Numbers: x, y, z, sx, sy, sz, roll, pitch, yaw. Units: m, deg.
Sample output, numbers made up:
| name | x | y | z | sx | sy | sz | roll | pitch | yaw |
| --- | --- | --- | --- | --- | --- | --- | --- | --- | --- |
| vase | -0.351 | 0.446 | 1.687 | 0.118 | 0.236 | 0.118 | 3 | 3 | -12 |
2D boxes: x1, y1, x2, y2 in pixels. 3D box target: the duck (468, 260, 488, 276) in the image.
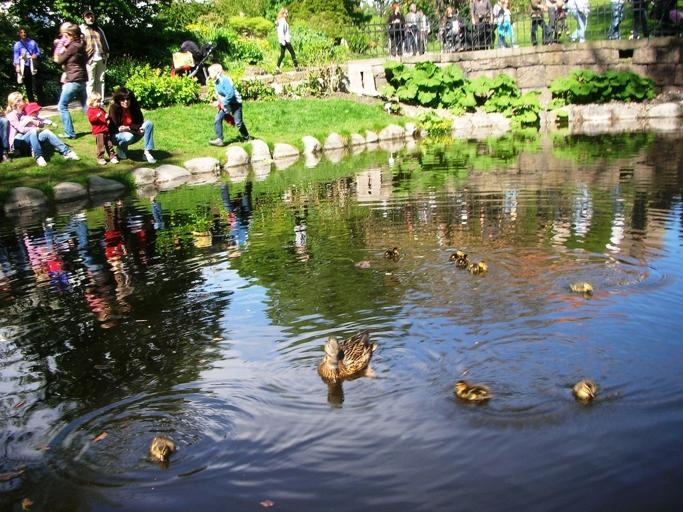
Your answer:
| name | x | y | z | sx | sy | sz | roll | pitch | yaw |
| --- | --- | --- | --- | --- | --- | --- | --- | --- | --- |
| duck | 2.052 | 0.182 | 10.263 | 0.251 | 0.163 | 0.165 | 0 | 7 | 1 |

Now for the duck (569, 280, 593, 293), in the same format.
| name | x | y | z | sx | sy | sz | roll | pitch | yaw |
| --- | --- | --- | --- | --- | --- | --- | --- | --- | --- |
| duck | 3.335 | 0.418 | 9.518 | 0.309 | 0.140 | 0.438 | -2 | 13 | 19 |

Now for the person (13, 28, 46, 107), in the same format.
| name | x | y | z | sx | sy | sz | roll | pitch | yaw |
| --- | --- | --- | --- | --- | --- | --- | --- | --- | --- |
| person | -10.876 | -6.503 | 23.674 | 0.710 | 2.566 | 1.039 | 31 | 40 | 33 |

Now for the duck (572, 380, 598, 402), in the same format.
| name | x | y | z | sx | sy | sz | roll | pitch | yaw |
| --- | --- | --- | --- | --- | --- | --- | --- | --- | --- |
| duck | 2.614 | 1.453 | 7.370 | 0.201 | 0.231 | 0.132 | -2 | 30 | -18 |

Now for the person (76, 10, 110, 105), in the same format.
| name | x | y | z | sx | sy | sz | roll | pitch | yaw |
| --- | --- | --- | --- | --- | --- | --- | --- | --- | --- |
| person | -7.880 | -6.324 | 21.302 | 0.858 | 3.499 | 0.741 | 4 | 23 | 5 |

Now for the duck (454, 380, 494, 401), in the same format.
| name | x | y | z | sx | sy | sz | roll | pitch | yaw |
| --- | --- | --- | --- | --- | --- | --- | --- | --- | --- |
| duck | 1.394 | 1.482 | 7.457 | 0.214 | 0.072 | 0.258 | -7 | 6 | -34 |

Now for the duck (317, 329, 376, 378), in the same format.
| name | x | y | z | sx | sy | sz | roll | pitch | yaw |
| --- | --- | --- | --- | --- | --- | --- | --- | --- | --- |
| duck | 0.063 | 1.187 | 7.966 | 1.034 | 0.520 | 0.579 | 3 | 14 | -7 |

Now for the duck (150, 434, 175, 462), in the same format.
| name | x | y | z | sx | sy | sz | roll | pitch | yaw |
| --- | --- | --- | --- | --- | --- | --- | --- | --- | --- |
| duck | -1.834 | 1.969 | 7.004 | 0.265 | 0.198 | 0.110 | -24 | 34 | 22 |

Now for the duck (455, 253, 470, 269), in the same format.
| name | x | y | z | sx | sy | sz | roll | pitch | yaw |
| --- | --- | --- | --- | --- | --- | --- | --- | --- | --- |
| duck | 1.869 | 0.070 | 10.572 | 0.207 | 0.223 | 0.213 | -4 | 13 | 10 |

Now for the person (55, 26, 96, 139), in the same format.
| name | x | y | z | sx | sy | sz | roll | pitch | yaw |
| --- | --- | --- | --- | --- | --- | --- | --- | --- | --- |
| person | -8.369 | -5.386 | 21.070 | 1.095 | 3.425 | 1.123 | 18 | 22 | 31 |

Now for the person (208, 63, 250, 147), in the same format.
| name | x | y | z | sx | sy | sz | roll | pitch | yaw |
| --- | --- | --- | --- | --- | --- | --- | --- | --- | --- |
| person | -3.816 | -5.142 | 23.320 | 1.527 | 2.589 | 0.940 | -6 | 13 | -23 |
